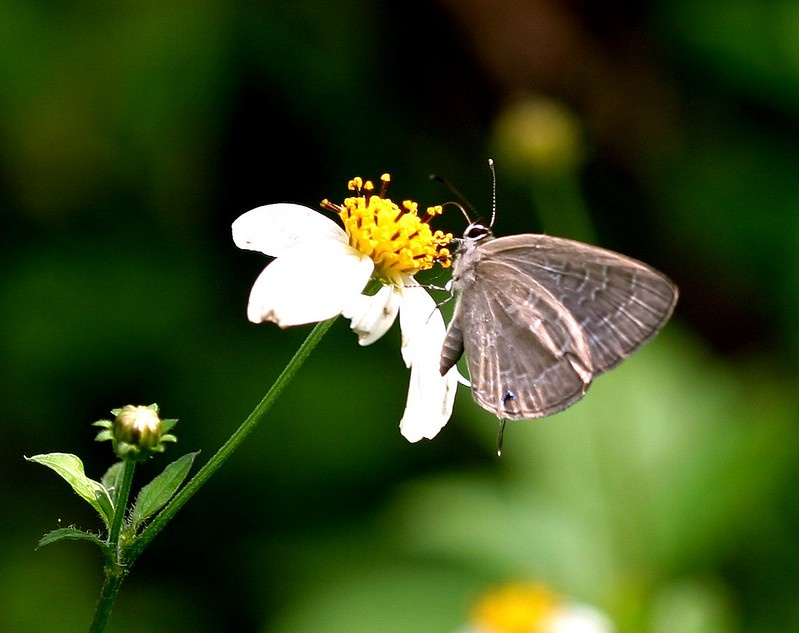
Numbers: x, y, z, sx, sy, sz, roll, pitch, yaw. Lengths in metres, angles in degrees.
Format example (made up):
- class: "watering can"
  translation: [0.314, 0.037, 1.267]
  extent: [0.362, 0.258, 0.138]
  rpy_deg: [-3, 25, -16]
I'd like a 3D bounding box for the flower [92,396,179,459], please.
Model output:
- class: "flower"
  translation: [-0.853, 0.402, 2.608]
  extent: [0.242, 0.250, 0.152]
  rpy_deg: [3, -83, 0]
